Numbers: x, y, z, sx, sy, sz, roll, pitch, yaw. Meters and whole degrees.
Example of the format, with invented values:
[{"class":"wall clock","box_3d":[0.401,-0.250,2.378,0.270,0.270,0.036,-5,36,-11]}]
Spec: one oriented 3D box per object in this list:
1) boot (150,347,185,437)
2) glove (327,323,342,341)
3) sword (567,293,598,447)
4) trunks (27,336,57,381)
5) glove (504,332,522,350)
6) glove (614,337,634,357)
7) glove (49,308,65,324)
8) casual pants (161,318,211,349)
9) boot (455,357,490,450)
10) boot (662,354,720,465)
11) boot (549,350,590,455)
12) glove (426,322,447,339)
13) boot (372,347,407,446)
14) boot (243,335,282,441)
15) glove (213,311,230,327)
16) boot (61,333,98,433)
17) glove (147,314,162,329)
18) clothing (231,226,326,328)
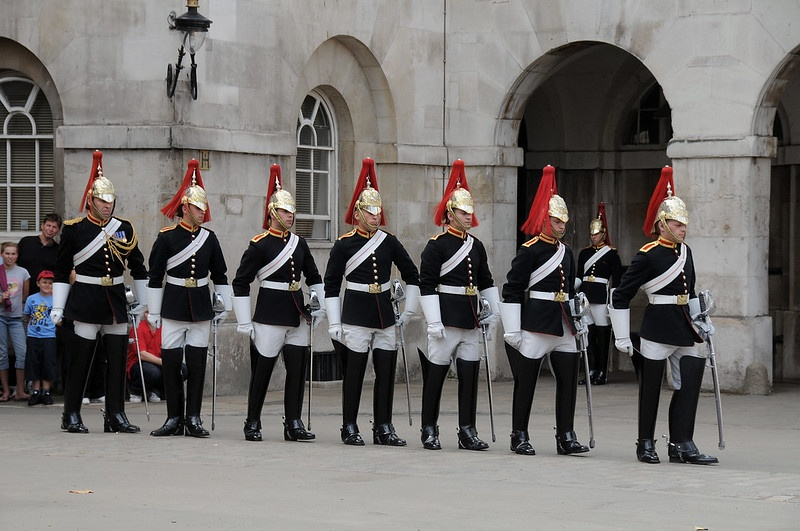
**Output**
[{"class":"boot","box_3d":[-2.287,1.246,16.361,0.212,0.874,0.406,-2,-6,28]},{"class":"glove","box_3d":[-0.644,0.641,16.114,0.165,0.150,0.119,-12,14,12]},{"class":"sword","box_3d":[1.844,1.030,15.888,0.098,1.536,0.309,-10,8,-34]},{"class":"trunks","box_3d":[-3.973,1.014,18.213,0.380,0.535,0.203,5,12,5]},{"class":"glove","box_3d":[1.107,0.712,15.838,0.181,0.172,0.145,-2,-5,29]},{"class":"glove","box_3d":[2.179,0.758,15.610,0.171,0.146,0.295,0,-5,8]},{"class":"glove","box_3d":[-3.431,0.502,16.341,0.116,0.138,0.145,-1,-9,-17]},{"class":"casual pants","box_3d":[-2.147,0.674,16.443,0.569,0.391,0.298,2,2,-22]},{"class":"boot","box_3d":[0.737,1.353,16.053,0.320,0.868,0.265,0,-5,3]},{"class":"boot","box_3d":[2.814,1.354,15.514,0.453,1.006,0.235,0,-5,8]},{"class":"boot","box_3d":[1.669,1.322,15.834,0.371,0.984,0.258,0,-5,6]},{"class":"glove","box_3d":[0.381,0.618,15.885,0.130,0.155,0.166,0,20,11]},{"class":"boot","box_3d":[-0.072,1.295,16.156,0.251,0.947,0.471,-2,2,-42]},{"class":"boot","box_3d":[-1.349,1.223,16.396,0.345,1.071,0.375,2,-5,-2]},{"class":"glove","box_3d":[-1.812,0.532,16.456,0.167,0.120,0.141,-17,-40,22]},{"class":"boot","box_3d":[-3.229,1.193,16.512,0.394,0.959,0.306,6,6,40]},{"class":"glove","box_3d":[-2.425,0.545,16.378,0.121,0.141,0.146,8,10,24]},{"class":"clothing","box_3d":[-1.273,0.124,16.756,1.279,1.108,0.642,1,-6,-34]}]
